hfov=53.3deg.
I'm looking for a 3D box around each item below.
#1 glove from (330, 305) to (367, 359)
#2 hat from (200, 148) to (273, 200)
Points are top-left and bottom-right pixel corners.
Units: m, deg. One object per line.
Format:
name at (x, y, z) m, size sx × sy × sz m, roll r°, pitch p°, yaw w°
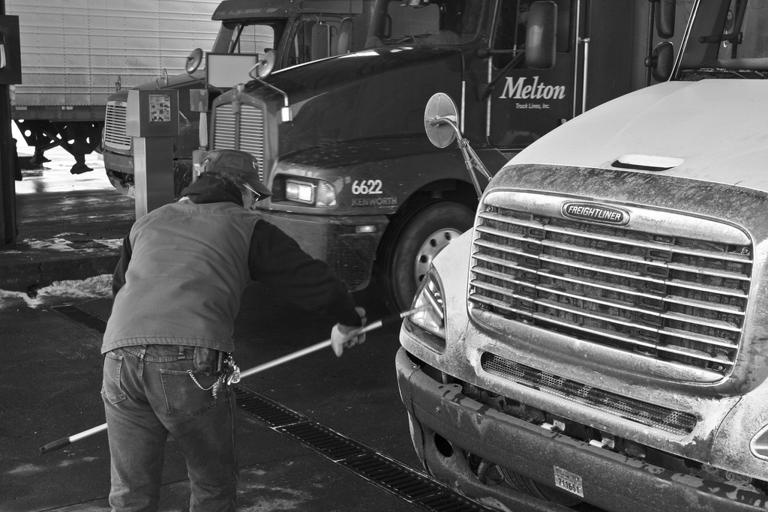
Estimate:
glove at (-0.223, 0.470, 4.700) m, size 0.096 × 0.289 × 0.293 m, roll 25°, pitch 21°, yaw 6°
hat at (-0.957, -0.533, 4.725) m, size 0.479 × 0.255 × 0.335 m, roll 8°, pitch -4°, yaw -23°
